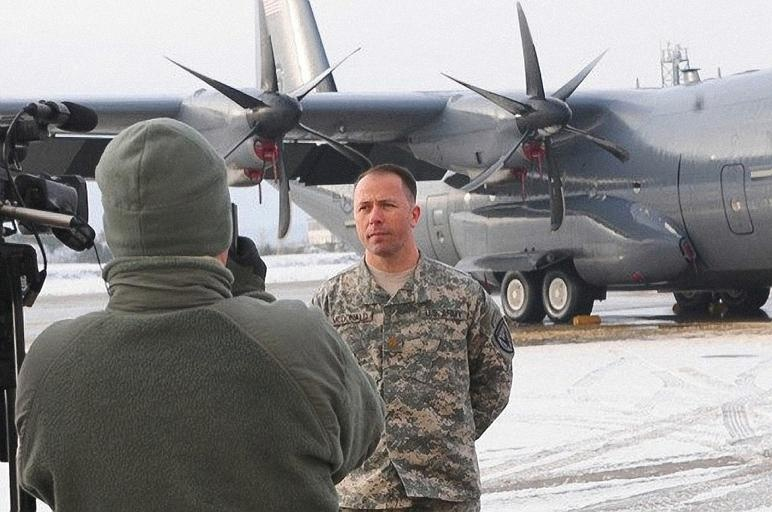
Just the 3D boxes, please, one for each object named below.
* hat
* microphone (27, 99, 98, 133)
[{"bbox_3d":[-1.448,-0.498,7.902,0.885,0.889,1.022,-2,16,12],"label":"hat"},{"bbox_3d":[-2.305,-1.008,8.575,0.239,0.172,0.401,8,-4,38],"label":"microphone"}]
